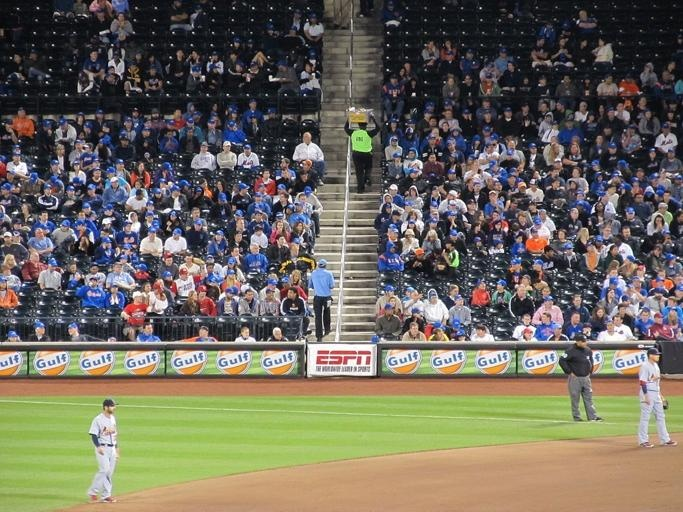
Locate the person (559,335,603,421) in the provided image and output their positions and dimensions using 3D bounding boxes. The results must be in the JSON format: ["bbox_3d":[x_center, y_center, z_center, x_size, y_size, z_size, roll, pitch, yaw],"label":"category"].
[{"bbox_3d":[6.955,3.459,49.265,1.031,2.430,0.887,0,-1,22],"label":"person"}]

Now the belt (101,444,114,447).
[{"bbox_3d":[-5.926,4.748,43.781,0.324,0.091,0.070,1,-1,-28],"label":"belt"}]

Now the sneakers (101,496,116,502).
[{"bbox_3d":[-5.947,6.157,44.028,0.299,0.127,0.162,-2,13,0],"label":"sneakers"}]

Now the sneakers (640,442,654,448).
[{"bbox_3d":[8.379,5.091,46.845,0.387,0.149,0.127,-2,5,7],"label":"sneakers"}]

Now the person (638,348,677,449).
[{"bbox_3d":[8.701,3.835,47.216,0.967,2.654,1.083,0,-1,21],"label":"person"}]

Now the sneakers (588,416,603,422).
[{"bbox_3d":[7.318,4.608,49.079,0.366,0.151,0.131,2,4,-6],"label":"sneakers"}]

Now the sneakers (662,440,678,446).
[{"bbox_3d":[9.036,5.055,46.926,0.386,0.168,0.139,-7,12,6],"label":"sneakers"}]

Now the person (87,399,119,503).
[{"bbox_3d":[-6.065,4.917,43.928,0.653,2.581,0.417,0,-1,-12],"label":"person"}]

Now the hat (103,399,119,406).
[{"bbox_3d":[-5.880,3.783,43.947,0.377,0.214,0.270,7,13,-7],"label":"hat"}]

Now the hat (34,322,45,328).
[{"bbox_3d":[-9.400,2.125,53.811,0.313,0.207,0.296,1,-1,-18],"label":"hat"}]

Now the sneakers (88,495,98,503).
[{"bbox_3d":[-6.366,6.130,44.008,0.232,0.224,0.175,-2,5,-34],"label":"sneakers"}]

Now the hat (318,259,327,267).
[{"bbox_3d":[-0.557,0.251,53.892,0.200,0.195,0.243,4,12,-2],"label":"hat"}]
